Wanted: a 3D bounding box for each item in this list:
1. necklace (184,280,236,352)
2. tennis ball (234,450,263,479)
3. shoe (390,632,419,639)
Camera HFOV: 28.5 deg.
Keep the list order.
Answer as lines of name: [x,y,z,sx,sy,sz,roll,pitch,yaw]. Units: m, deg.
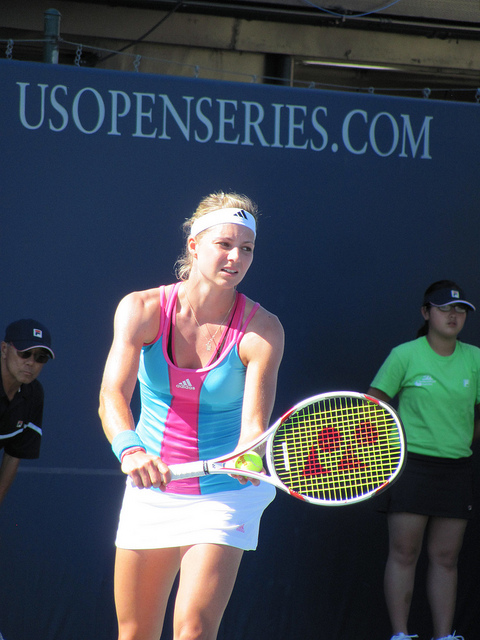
necklace: [-0.115,-0.003,3.582,0.159,0.496,0.014,2,-16,7]
tennis ball: [0.029,0.518,3.352,0.093,0.081,0.056,7,2,19]
shoe: [0.828,1.586,4.740,0.139,0.033,0.069,7,2,-23]
